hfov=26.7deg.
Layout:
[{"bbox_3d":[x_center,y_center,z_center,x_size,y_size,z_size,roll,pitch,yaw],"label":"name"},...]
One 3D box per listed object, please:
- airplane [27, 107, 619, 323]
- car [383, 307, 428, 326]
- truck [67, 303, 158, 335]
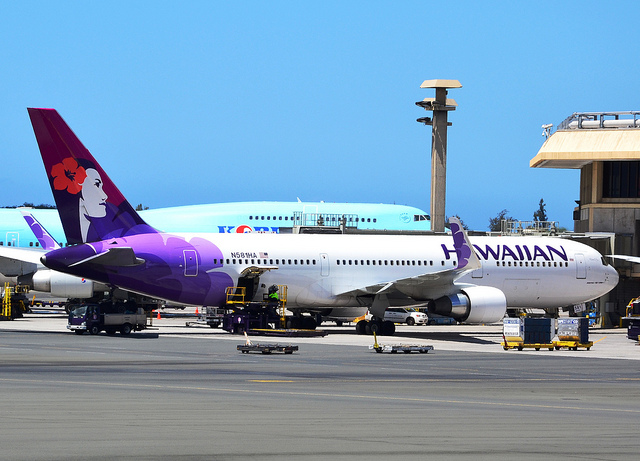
[{"bbox_3d":[1.001,-0.125,51.792,23.953,7.519,5.447,0,-12,-11],"label":"airplane"},{"bbox_3d":[3.920,3.962,61.583,2.305,0.785,1.157,-3,-2,16],"label":"car"},{"bbox_3d":[-7.783,3.282,49.977,2.536,0.720,1.338,2,-5,-37],"label":"truck"}]
